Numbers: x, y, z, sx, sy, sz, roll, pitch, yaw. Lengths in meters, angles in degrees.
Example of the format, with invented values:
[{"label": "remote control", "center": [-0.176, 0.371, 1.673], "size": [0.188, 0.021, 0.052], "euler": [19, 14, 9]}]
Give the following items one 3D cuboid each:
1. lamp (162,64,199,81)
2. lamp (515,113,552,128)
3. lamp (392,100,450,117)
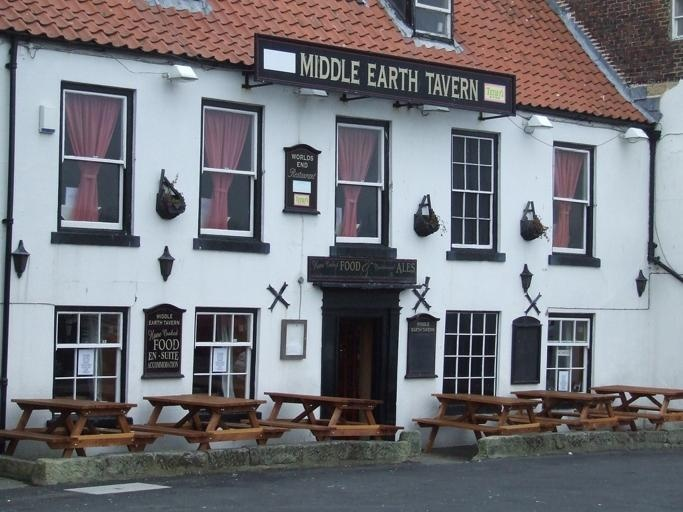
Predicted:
[{"label": "lamp", "center": [-2.722, -3.120, 20.299], "size": [0.576, 0.314, 0.297], "euler": [-2, -6, 37]}, {"label": "lamp", "center": [3.853, -2.645, 23.792], "size": [0.317, 0.296, 0.436], "euler": [1, 4, -34]}, {"label": "lamp", "center": [1.514, -2.812, 22.820], "size": [1.107, 0.379, 0.368], "euler": [3, -2, -35]}]
